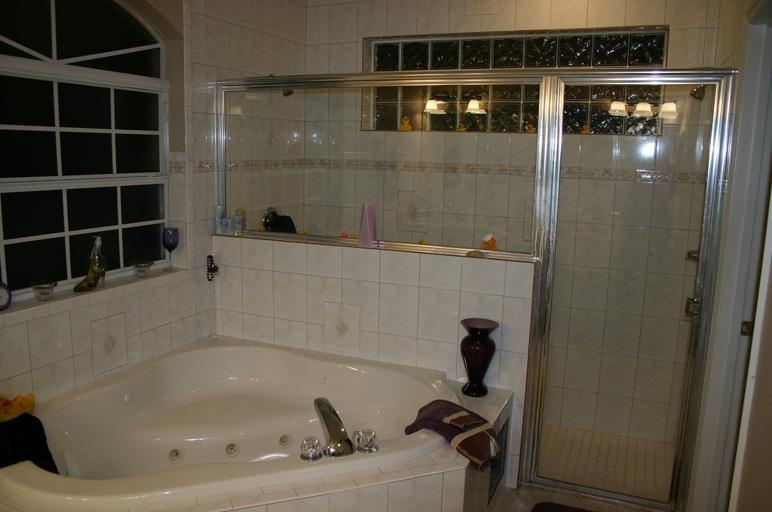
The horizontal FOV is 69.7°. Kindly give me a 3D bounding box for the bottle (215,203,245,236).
[{"bbox_3d":[-1.299,-0.310,4.601,0.232,0.229,0.092,3,5,0],"label":"bottle"}]

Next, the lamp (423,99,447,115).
[{"bbox_3d":[0.356,-1.082,4.046,0.117,0.080,0.120,6,11,23],"label":"lamp"}]

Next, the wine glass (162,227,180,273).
[{"bbox_3d":[-1.712,-0.066,4.413,0.135,0.334,0.160,-4,11,-19],"label":"wine glass"}]

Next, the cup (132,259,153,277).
[{"bbox_3d":[-1.872,0.089,4.255,0.109,0.090,0.122,2,7,32],"label":"cup"}]

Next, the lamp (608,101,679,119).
[{"bbox_3d":[1.686,-0.964,3.654,0.415,0.127,0.065,1,11,7],"label":"lamp"}]

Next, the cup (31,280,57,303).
[{"bbox_3d":[-2.250,0.227,3.639,0.119,0.098,0.124,-1,-5,0],"label":"cup"}]

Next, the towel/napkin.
[{"bbox_3d":[0.429,1.051,3.416,0.458,0.165,0.380,17,21,38],"label":"towel/napkin"}]

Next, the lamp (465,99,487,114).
[{"bbox_3d":[0.637,-1.063,3.958,0.125,0.092,0.104,2,5,13],"label":"lamp"}]

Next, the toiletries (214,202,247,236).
[{"bbox_3d":[-1.290,-0.315,4.600,0.247,0.246,0.098,3,5,0],"label":"toiletries"}]

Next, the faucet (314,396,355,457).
[{"bbox_3d":[-0.317,1.031,3.371,0.183,0.217,0.368,-3,11,-16],"label":"faucet"}]
